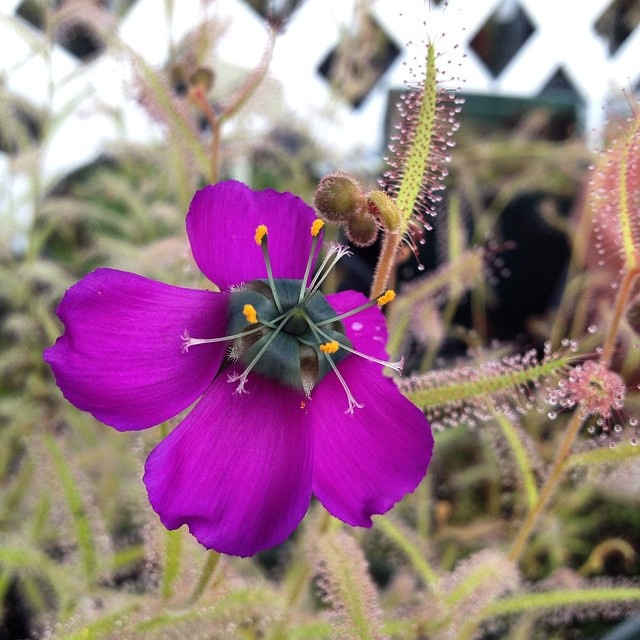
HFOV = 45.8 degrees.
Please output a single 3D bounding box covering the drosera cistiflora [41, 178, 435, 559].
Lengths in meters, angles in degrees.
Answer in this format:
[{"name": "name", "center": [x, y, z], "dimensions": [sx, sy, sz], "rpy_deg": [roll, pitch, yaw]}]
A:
[{"name": "drosera cistiflora", "center": [-0.043, 0.037, 0.531], "dimensions": [0.223, 0.106, 0.249], "rpy_deg": [-36, 70, -19]}]
